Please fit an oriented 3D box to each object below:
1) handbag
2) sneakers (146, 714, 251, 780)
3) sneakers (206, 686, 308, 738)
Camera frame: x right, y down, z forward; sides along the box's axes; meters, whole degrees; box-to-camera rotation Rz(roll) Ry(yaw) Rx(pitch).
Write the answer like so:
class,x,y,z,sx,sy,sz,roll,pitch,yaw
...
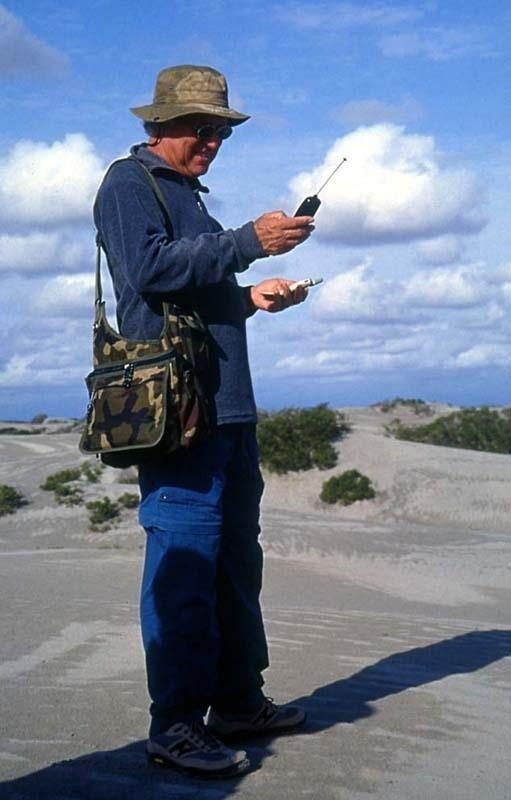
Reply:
class,x,y,z,sx,sy,sz,roll,pitch,yaw
handbag,-0.361,-0.054,3.313,0.450,0.562,0.451,3,-3,4
sneakers,-0.193,1.151,3.347,0.348,0.155,0.132,2,-5,22
sneakers,0.015,1.151,3.716,0.388,0.165,0.133,-3,-4,-13
